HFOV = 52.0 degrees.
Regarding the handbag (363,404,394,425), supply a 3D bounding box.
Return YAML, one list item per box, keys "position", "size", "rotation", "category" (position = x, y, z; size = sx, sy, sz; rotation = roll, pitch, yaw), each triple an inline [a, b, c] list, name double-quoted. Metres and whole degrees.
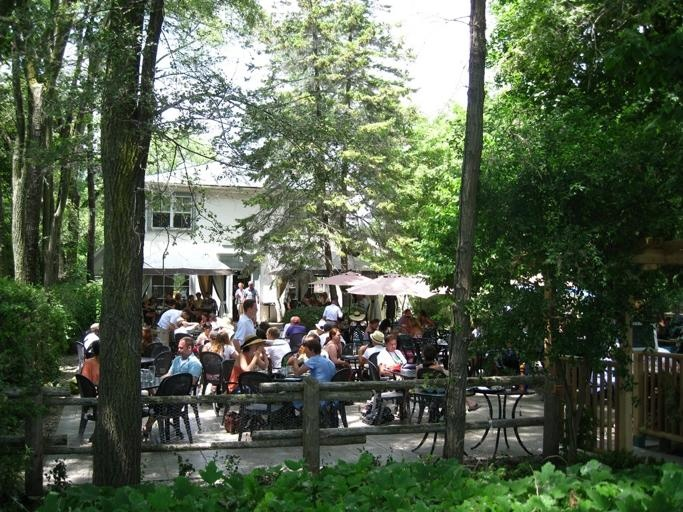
- position: [0.593, 2.639, 11.574]
  size: [0.390, 0.231, 0.519]
  rotation: [0, -6, 21]
  category: "handbag"
